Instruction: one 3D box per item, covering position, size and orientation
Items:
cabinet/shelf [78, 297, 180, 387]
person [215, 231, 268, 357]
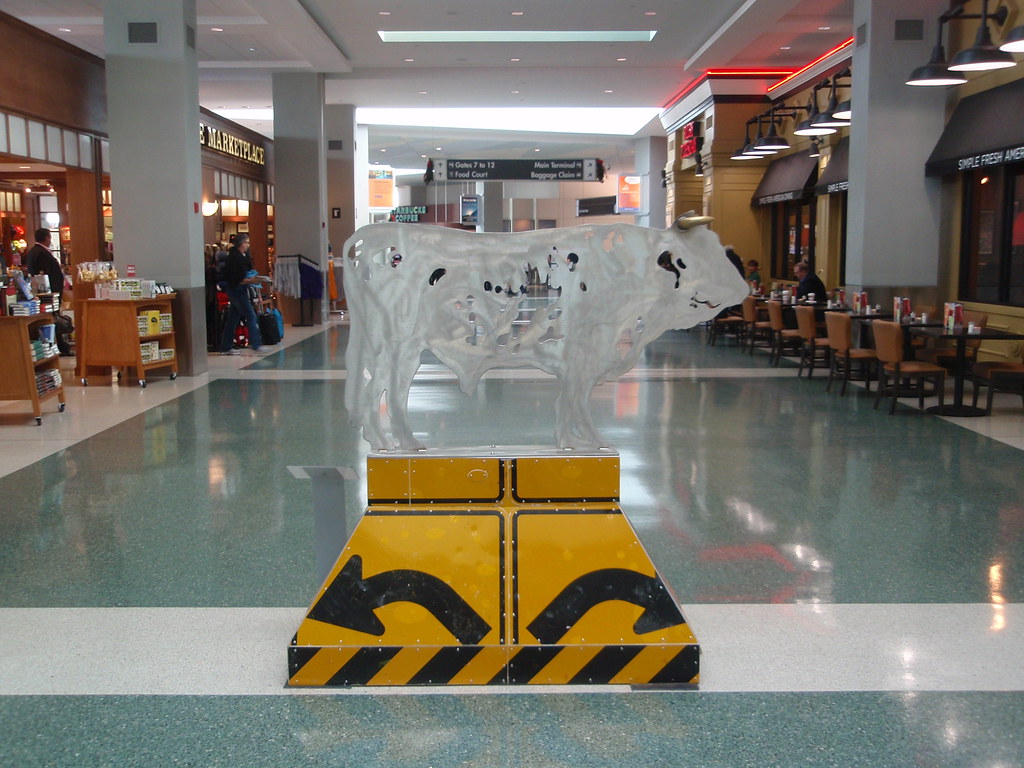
[{"bbox_3d":[-4.904,-0.576,9.630,1.019,1.337,1.414,-1,4,-1],"label":"cabinet/shelf"},{"bbox_3d":[-4.516,-1.497,12.441,0.639,1.931,1.057,-3,8,-14],"label":"person"}]
